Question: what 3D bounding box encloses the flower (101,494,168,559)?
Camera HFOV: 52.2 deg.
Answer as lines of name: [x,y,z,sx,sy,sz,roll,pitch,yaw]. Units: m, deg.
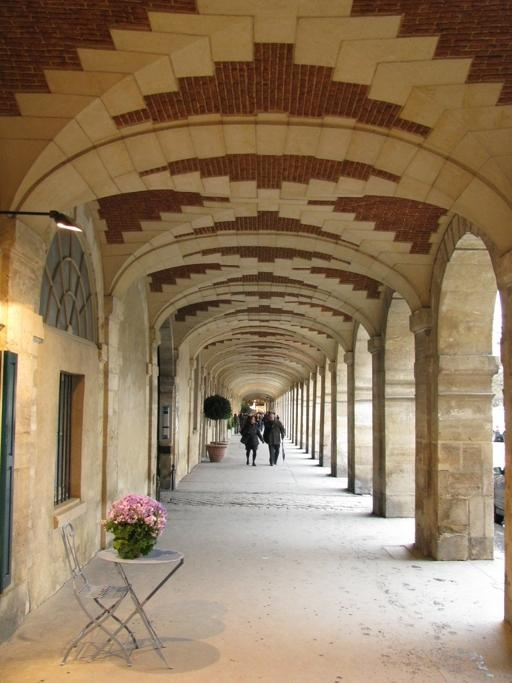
flower: [-0.885,1.212,3.543,0.422,0.437,0.408,-4,-6,43]
